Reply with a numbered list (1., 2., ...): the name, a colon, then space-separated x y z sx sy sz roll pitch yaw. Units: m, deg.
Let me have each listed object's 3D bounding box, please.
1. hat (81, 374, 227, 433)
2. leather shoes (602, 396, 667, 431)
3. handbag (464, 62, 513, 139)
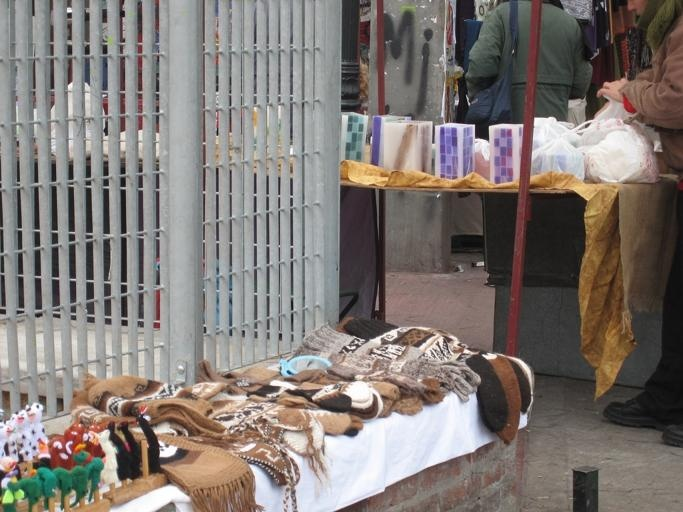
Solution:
1. hat: -0.905 0.675 6.216 0.391 0.149 0.345 5 1 32
2. leather shoes: 1.791 0.976 8.279 0.357 0.189 0.158 10 6 34
3. handbag: 1.062 -1.107 9.767 0.365 0.526 0.302 -1 7 19
